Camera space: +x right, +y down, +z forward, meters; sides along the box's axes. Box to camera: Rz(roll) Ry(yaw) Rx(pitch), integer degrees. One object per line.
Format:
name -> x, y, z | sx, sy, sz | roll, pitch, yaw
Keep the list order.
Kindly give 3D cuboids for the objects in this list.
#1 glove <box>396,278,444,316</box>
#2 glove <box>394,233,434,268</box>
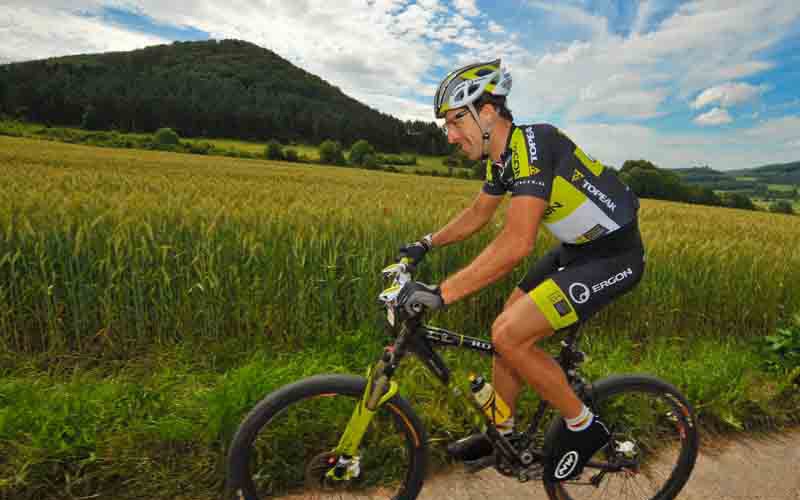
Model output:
glove -> 0.190, 0.490, 5.553 | 0.386, 0.281, 0.198 | -4, -29, -3
glove -> 0.152, 0.031, 6.159 | 0.323, 0.173, 0.540 | 0, 26, 34
